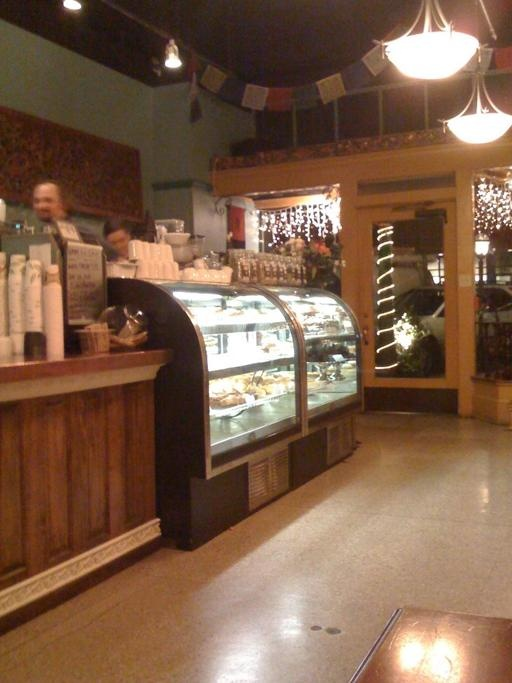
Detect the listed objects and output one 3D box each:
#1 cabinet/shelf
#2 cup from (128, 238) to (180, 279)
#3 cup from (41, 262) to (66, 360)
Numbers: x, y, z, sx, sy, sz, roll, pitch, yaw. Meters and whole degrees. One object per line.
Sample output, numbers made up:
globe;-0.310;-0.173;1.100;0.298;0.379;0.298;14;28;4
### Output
cabinet/shelf;0.011;0.183;3.555;0.708;1.124;2.148;-1;2;32
cup;-0.546;-0.452;2.997;0.178;0.227;0.371;-2;-1;37
cup;-0.797;-0.126;2.100;0.071;0.354;0.137;-1;-1;-23
